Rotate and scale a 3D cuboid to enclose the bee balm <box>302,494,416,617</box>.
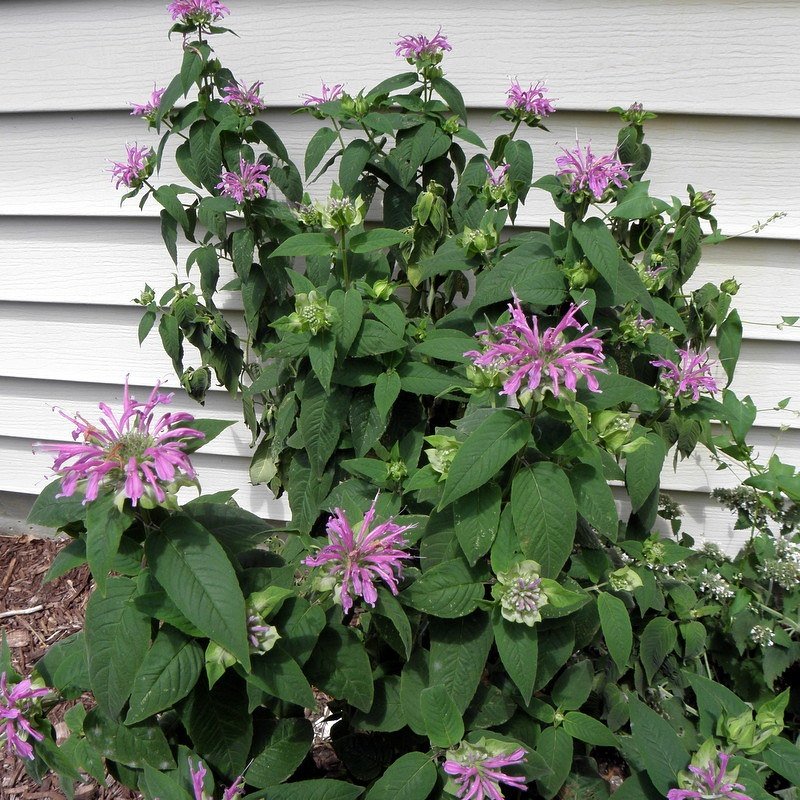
[{"bbox_3d":[-0.153,0.364,2.119,0.349,0.138,0.299,2,6,17],"label":"bee balm"}]

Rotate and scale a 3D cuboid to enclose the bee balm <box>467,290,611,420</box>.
[{"bbox_3d":[0.339,-0.084,2.085,0.338,0.323,0.154,15,-33,23],"label":"bee balm"}]

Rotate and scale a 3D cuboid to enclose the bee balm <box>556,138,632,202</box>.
[{"bbox_3d":[0.547,-0.686,2.403,0.192,0.073,0.179,2,9,-17],"label":"bee balm"}]

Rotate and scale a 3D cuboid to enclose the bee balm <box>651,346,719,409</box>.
[{"bbox_3d":[0.914,-0.078,2.684,0.206,0.196,0.131,22,-15,24],"label":"bee balm"}]

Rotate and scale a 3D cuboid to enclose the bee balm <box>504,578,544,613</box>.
[{"bbox_3d":[0.323,0.508,2.142,0.101,0.092,0.046,-3,-12,36],"label":"bee balm"}]
